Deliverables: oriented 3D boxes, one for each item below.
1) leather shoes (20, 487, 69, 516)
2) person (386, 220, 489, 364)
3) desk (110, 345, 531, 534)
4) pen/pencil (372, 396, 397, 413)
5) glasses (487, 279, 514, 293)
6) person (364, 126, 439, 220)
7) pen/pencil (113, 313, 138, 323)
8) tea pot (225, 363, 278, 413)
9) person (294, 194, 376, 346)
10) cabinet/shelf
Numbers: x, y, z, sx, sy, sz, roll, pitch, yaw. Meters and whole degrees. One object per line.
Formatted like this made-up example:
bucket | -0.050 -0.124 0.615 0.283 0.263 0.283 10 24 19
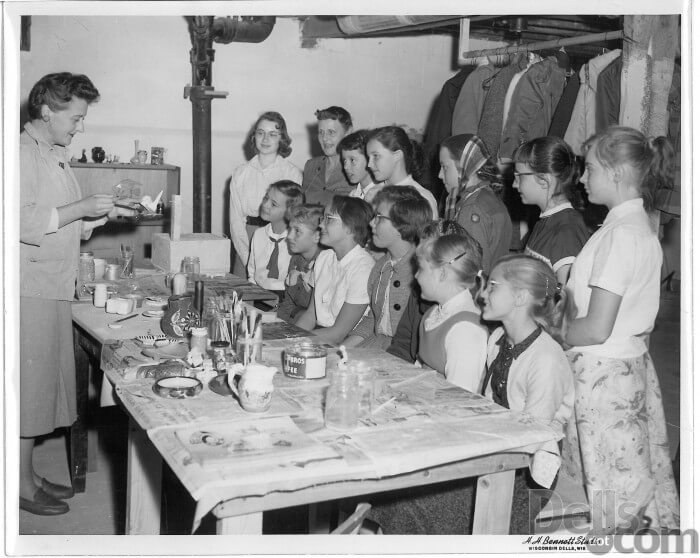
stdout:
leather shoes | -1.471 1.091 3.165 0.240 0.087 0.096 10 9 -2
person | 0.364 0.057 3.187 0.509 0.703 0.248 -1 12 -36
desk | -0.042 0.365 1.973 0.786 0.473 0.893 0 14 -22
pen/pencil | 0.114 0.423 2.148 0.020 0.016 0.148 27 33 34
glasses | 0.598 0.026 2.606 0.065 0.035 0.050 7 14 8
person | 0.315 -0.705 4.409 0.368 0.639 0.697 -7 16 -11
pen/pencil | -1.084 0.193 3.141 0.115 0.012 0.012 -15 13 -24
tea pot | -0.323 0.359 2.120 0.167 0.157 0.123 1 4 -11
person | -0.134 -0.048 3.787 0.540 0.853 0.530 -3 12 -21
cabinet/shelf | -1.684 -0.447 4.801 1.062 0.976 0.348 -1 5 -14
